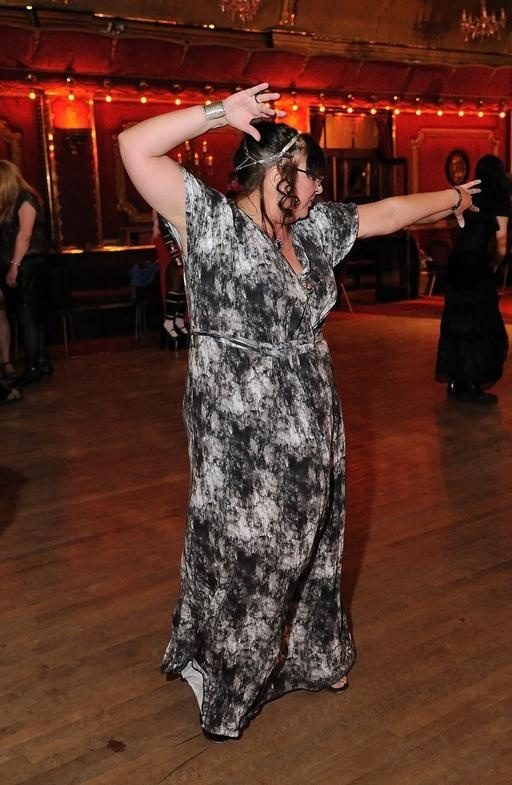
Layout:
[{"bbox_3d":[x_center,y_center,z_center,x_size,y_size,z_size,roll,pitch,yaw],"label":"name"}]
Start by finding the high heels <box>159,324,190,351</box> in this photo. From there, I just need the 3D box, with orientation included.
[{"bbox_3d":[-0.970,-0.621,7.318,0.188,0.190,0.541,-11,17,-38],"label":"high heels"}]

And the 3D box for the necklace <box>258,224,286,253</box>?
[{"bbox_3d":[0.026,-0.296,1.205,0.018,0.054,0.040,-37,-16,29],"label":"necklace"}]

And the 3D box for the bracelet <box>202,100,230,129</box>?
[{"bbox_3d":[-0.069,-0.481,1.081,0.045,0.039,0.042,4,5,2],"label":"bracelet"}]

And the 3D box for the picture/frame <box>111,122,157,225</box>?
[{"bbox_3d":[-1.855,-3.684,10.064,1.218,1.984,0.084,17,27,41],"label":"picture/frame"}]

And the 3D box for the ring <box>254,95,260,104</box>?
[{"bbox_3d":[0.002,-0.500,1.056,0.010,0.017,0.014,3,12,1],"label":"ring"}]

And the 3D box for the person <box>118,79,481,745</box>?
[{"bbox_3d":[0.004,0.115,1.356,0.434,1.331,0.625,1,7,36],"label":"person"}]
